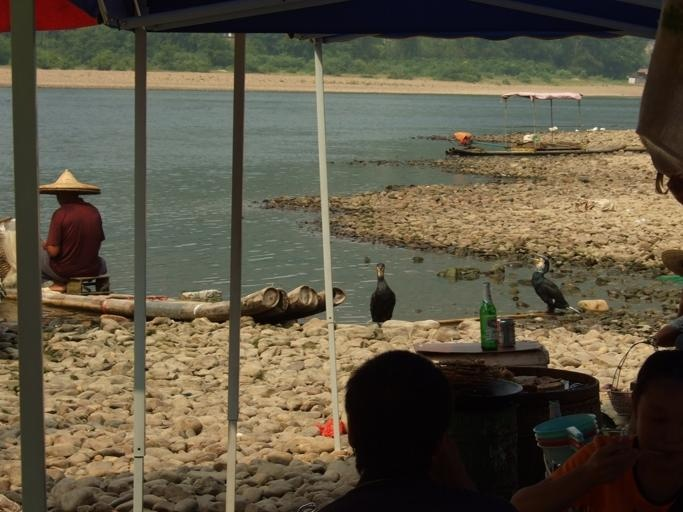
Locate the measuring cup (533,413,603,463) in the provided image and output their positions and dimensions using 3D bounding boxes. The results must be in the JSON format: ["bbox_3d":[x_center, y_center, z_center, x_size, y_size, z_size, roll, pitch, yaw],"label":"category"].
[{"bbox_3d":[1.276,0.997,5.728,0.342,0.261,0.238,1,1,2],"label":"measuring cup"}]

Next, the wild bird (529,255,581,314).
[{"bbox_3d":[3.037,0.385,14.148,0.717,0.699,0.645,-5,12,-21],"label":"wild bird"}]

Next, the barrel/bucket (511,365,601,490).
[{"bbox_3d":[1.248,1.198,7.272,1.056,0.709,0.831,-2,0,-2],"label":"barrel/bucket"}]

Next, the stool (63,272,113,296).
[{"bbox_3d":[-3.436,0.395,13.525,0.354,0.218,0.586,-1,0,31],"label":"stool"}]
